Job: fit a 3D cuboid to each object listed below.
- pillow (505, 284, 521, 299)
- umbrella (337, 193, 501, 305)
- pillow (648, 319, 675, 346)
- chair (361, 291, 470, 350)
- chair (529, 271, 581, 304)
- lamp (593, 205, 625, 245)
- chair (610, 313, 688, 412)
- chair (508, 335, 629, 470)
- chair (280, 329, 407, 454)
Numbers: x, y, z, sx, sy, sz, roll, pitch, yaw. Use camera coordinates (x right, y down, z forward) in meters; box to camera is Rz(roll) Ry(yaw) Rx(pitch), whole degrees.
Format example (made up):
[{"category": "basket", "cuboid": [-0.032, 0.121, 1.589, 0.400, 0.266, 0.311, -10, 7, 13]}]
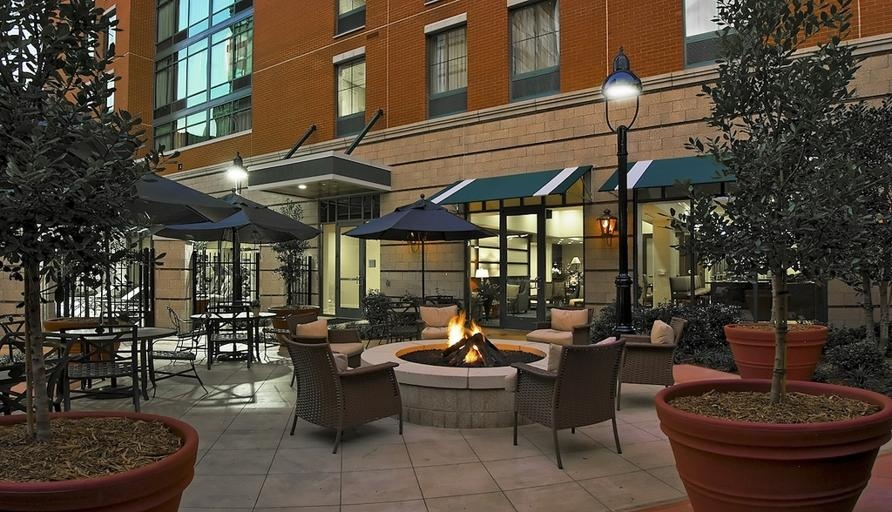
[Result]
[{"category": "pillow", "cuboid": [1.871, 0.952, 18.069, 0.419, 0.305, 0.184, 3, -24, 22]}, {"category": "umbrella", "cuboid": [-0.439, 0.009, 15.006, 3.185, 1.996, 2.930, -1, 0, -1]}, {"category": "pillow", "cuboid": [3.571, 1.287, 10.745, 0.354, 0.390, 0.623, 2, -3, -12]}, {"category": "chair", "cuboid": [-0.744, 1.678, 16.750, 1.742, 2.218, 1.771, 2, -7, -22]}, {"category": "chair", "cuboid": [3.036, 0.905, 18.810, 0.977, 1.026, 1.341, -5, -12, 39]}, {"category": "lamp", "cuboid": [4.388, -0.790, 16.541, 0.874, 1.174, 0.932, -3, 3, -12]}, {"category": "chair", "cuboid": [3.727, 1.795, 11.289, 1.570, 1.674, 1.513, 1, -7, 6]}, {"category": "chair", "cuboid": [2.041, 2.051, 9.842, 1.895, 1.962, 1.652, 1, -1, -30]}, {"category": "chair", "cuboid": [-1.413, 1.938, 9.989, 1.538, 1.561, 1.796, 1, 1, 41]}]
